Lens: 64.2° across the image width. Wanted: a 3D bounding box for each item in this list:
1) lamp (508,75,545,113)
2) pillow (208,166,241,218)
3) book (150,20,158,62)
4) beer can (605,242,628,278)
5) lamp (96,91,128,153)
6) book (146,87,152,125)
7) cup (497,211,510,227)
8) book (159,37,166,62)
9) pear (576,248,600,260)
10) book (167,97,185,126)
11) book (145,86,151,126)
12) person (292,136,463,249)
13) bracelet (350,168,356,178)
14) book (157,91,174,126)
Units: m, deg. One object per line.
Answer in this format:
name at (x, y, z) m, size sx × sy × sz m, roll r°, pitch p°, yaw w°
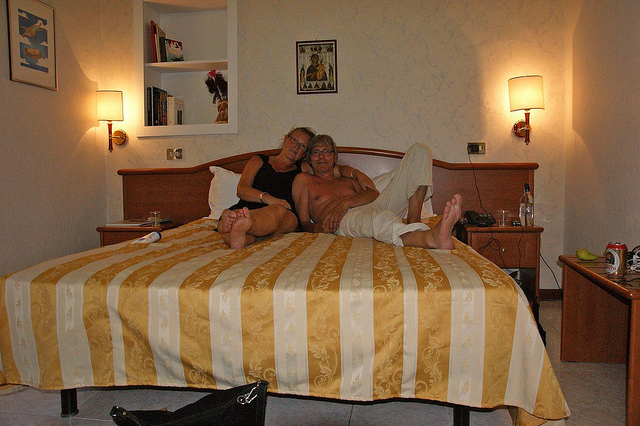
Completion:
lamp at (1.658, -0.991, 4.150) m, size 0.255 × 0.283 × 0.247 m, roll -13°, pitch 14°, yaw -38°
pillow at (-0.775, -0.184, 4.149) m, size 0.240 × 0.391 × 0.427 m, roll 1°, pitch 6°, yaw -11°
book at (-1.456, -1.517, 4.476) m, size 0.036 × 0.352 × 0.081 m, roll -4°, pitch 9°, yaw -44°
beer can at (1.603, 0.252, 2.782) m, size 0.112 × 0.198 × 0.114 m, roll -1°, pitch 9°, yaw 0°
lamp at (-1.805, -0.800, 4.454) m, size 0.229 × 0.527 × 0.189 m, roll 1°, pitch 6°, yaw -11°
book at (-1.495, -0.946, 4.494) m, size 0.060 × 0.322 × 0.024 m, roll 6°, pitch 8°, yaw 34°
cup at (1.458, 0.044, 4.064) m, size 0.099 × 0.114 × 0.101 m, roll 3°, pitch -19°, yaw 1°
book at (-1.379, -1.450, 4.488) m, size 0.047 × 0.218 × 0.047 m, roll -3°, pitch 8°, yaw -40°
pear at (1.580, 0.243, 3.037) m, size 0.132 × 0.062 × 0.067 m, roll 2°, pitch 7°, yaw 12°
book at (-1.290, -0.913, 4.549) m, size 0.136 × 0.253 × 0.263 m, roll 0°, pitch 7°, yaw 2°
book at (-1.506, -0.950, 4.494) m, size 0.061 × 0.342 × 0.031 m, roll 4°, pitch 7°, yaw 17°
person at (0.380, -0.127, 3.466) m, size 1.112 × 0.623 × 0.704 m, roll 2°, pitch 7°, yaw 40°
bracelet at (0.253, -0.311, 3.906) m, size 0.028 × 0.067 × 0.045 m, roll 8°, pitch 9°, yaw 43°
book at (-1.370, -0.924, 4.517) m, size 0.147 × 0.265 × 0.271 m, roll 2°, pitch 8°, yaw 0°
